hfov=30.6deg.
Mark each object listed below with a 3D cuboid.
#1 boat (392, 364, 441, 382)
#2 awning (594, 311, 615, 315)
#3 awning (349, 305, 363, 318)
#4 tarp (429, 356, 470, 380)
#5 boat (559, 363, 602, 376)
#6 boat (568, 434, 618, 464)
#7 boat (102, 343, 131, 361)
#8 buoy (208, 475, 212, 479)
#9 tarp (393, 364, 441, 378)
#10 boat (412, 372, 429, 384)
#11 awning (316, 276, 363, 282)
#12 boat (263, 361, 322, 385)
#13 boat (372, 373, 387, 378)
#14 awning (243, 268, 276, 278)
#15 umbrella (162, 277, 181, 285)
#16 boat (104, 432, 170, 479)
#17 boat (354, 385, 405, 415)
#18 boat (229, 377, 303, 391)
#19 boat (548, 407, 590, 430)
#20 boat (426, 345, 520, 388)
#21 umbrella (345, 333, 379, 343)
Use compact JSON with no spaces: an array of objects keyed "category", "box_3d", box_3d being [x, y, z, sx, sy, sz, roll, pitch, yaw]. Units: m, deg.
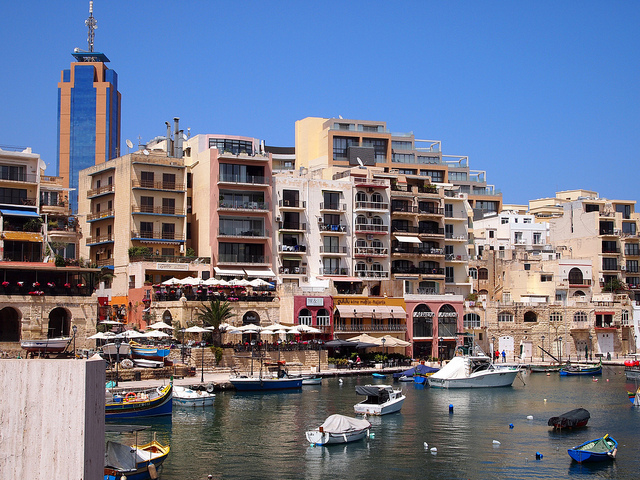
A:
[{"category":"boat","box_3d":[10.454,14.502,126.820,4.802,1.651,1.918,-1,-2,-13]},{"category":"awning","box_3d":[38.298,9.768,157.767,3.654,0.273,0.637,4,-11,-39]},{"category":"awning","box_3d":[4.332,8.203,137.324,1.475,1.487,0.935,4,-11,-40]},{"category":"tarp","box_3d":[13.667,13.403,122.469,3.127,1.365,2.215,-3,1,-22]},{"category":"boat","box_3d":[30.351,15.084,136.425,5.224,1.450,1.688,1,-8,-13]},{"category":"boat","box_3d":[21.348,16.304,91.173,4.239,1.946,1.870,4,-11,-38]},{"category":"boat","box_3d":[-20.091,10.892,115.217,2.199,1.682,3.554,-4,-9,11]},{"category":"buoy","box_3d":[-8.146,17.511,86.731,0.281,0.259,0.542,-2,-8,-4]},{"category":"tarp","box_3d":[10.438,14.510,126.605,5.370,1.333,1.764,-5,-5,-14]},{"category":"boat","box_3d":[10.656,14.568,124.224,1.407,1.353,3.632,-3,-9,3]},{"category":"awning","box_3d":[2.459,4.641,143.287,5.823,0.676,1.627,4,-11,-39]},{"category":"boat","box_3d":[-2.215,14.001,121.546,4.610,2.069,2.613,2,-2,23]},{"category":"boat","box_3d":[6.341,14.690,127.574,0.858,0.350,0.528,3,-11,-5]},{"category":"awning","box_3d":[-7.156,3.757,139.513,3.648,1.419,2.650,0,-9,-14]},{"category":"umbrella","box_3d":[-16.014,4.364,127.119,1.802,0.980,3.500,-2,-9,-6]},{"category":"boat","box_3d":[-13.339,15.814,84.241,2.106,2.916,5.737,-6,-9,24]},{"category":"boat","box_3d":[5.201,14.279,104.663,4.778,2.680,2.148,2,-9,-26]},{"category":"boat","box_3d":[-5.261,14.053,114.862,7.567,1.316,2.274,8,-11,-31]},{"category":"boat","box_3d":[21.625,15.209,100.200,1.481,1.411,3.834,5,7,40]},{"category":"boat","box_3d":[15.922,13.931,123.195,8.543,3.235,3.957,-2,1,-16]},{"category":"umbrella","box_3d":[4.793,11.168,134.248,3.464,1.294,4.014,-1,-9,-12]}]
